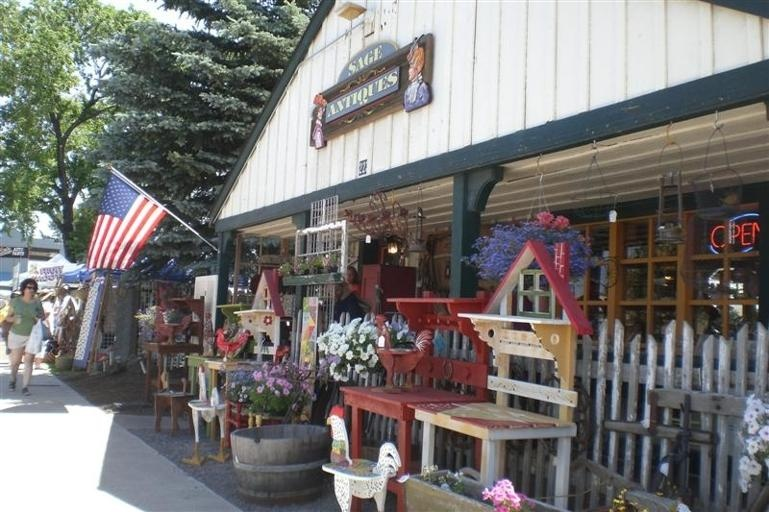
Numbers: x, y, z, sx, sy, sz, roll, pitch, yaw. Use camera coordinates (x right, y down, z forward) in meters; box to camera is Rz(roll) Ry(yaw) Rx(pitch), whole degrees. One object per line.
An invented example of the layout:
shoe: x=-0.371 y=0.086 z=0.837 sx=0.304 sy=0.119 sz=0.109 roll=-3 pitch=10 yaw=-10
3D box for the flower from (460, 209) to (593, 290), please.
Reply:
flower: x=1.689 y=-0.161 z=7.995 sx=1.019 sy=0.609 sz=1.011 roll=-6 pitch=-1 yaw=-22

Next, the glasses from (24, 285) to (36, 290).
glasses: x=-6.781 y=0.579 z=13.983 sx=0.156 sy=0.060 sz=0.076 roll=5 pitch=-7 yaw=-31

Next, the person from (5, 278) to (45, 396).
person: x=-6.972 y=1.495 z=14.167 sx=0.662 sy=2.177 sz=1.124 roll=4 pitch=-6 yaw=-25

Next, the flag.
flag: x=-4.987 y=-0.693 z=14.255 sx=1.690 sy=1.671 sz=0.236 roll=-32 pitch=-27 yaw=29
